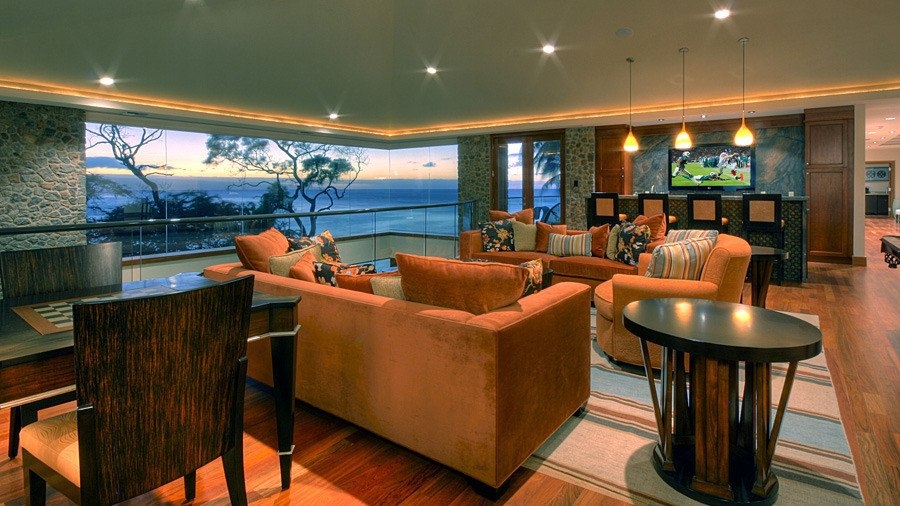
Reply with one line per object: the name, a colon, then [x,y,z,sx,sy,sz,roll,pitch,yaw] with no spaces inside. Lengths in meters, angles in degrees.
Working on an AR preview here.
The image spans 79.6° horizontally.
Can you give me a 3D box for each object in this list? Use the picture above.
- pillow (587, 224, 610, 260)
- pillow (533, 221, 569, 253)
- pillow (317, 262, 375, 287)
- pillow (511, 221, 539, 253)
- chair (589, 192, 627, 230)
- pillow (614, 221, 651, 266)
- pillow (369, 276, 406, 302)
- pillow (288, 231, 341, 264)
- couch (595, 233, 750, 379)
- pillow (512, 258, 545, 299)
pillow: [2.096,-0.137,7.617,0.217,0.554,0.438,10,-10,-9]
pillow: [1.484,-0.216,8.013,0.493,0.420,0.248,6,-12,-1]
pillow: [-1.031,0.171,5.213,0.336,0.107,0.328,5,8,21]
pillow: [1.135,-0.225,8.217,0.516,0.429,0.174,1,-2,6]
chair: [2.795,-0.745,9.635,0.705,0.870,0.673,4,6,37]
pillow: [2.414,-0.115,7.114,0.228,0.528,0.538,11,4,-33]
pillow: [-0.551,0.298,4.832,0.236,0.194,0.236,5,11,40]
pillow: [-1.390,-0.025,5.919,0.143,0.417,0.484,-18,-19,33]
couch: [2.335,0.512,6.018,1.455,1.275,1.616,-3,4,-40]
pillow: [0.720,0.245,4.905,0.153,0.389,0.372,1,1,41]
